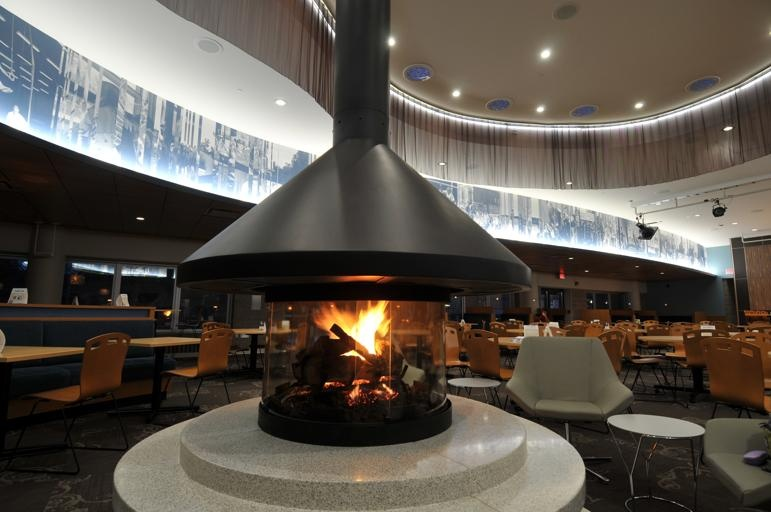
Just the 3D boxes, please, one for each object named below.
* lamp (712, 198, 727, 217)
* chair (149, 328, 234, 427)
[{"bbox_3d":[9.901,-1.490,13.561,0.349,0.487,0.492,-5,16,10],"label":"lamp"},{"bbox_3d":[-2.907,1.743,7.054,0.933,1.365,0.821,1,-4,25],"label":"chair"}]
